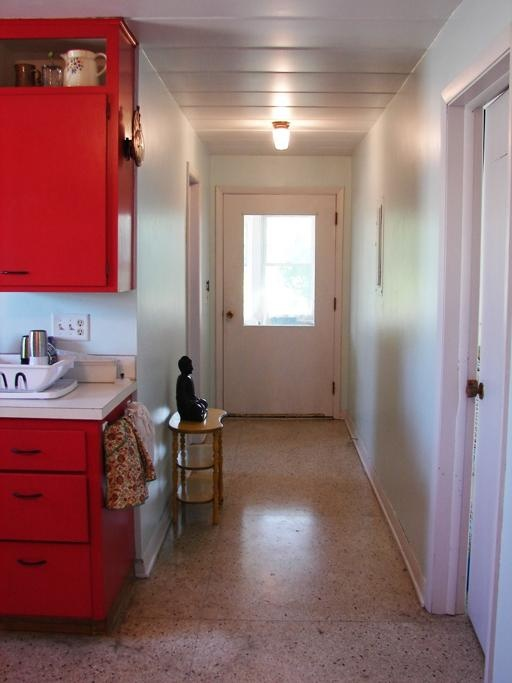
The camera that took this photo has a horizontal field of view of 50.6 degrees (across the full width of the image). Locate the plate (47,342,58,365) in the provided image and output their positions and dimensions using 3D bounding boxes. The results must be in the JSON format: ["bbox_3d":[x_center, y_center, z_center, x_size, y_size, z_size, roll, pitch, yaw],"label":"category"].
[{"bbox_3d":[-0.771,0.037,2.075,0.034,0.075,0.138,-1,5,-20],"label":"plate"}]

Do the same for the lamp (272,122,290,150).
[{"bbox_3d":[0.154,-1.303,3.432,0.114,0.211,0.143,-1,16,-3],"label":"lamp"}]

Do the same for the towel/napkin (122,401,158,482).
[{"bbox_3d":[-0.408,0.353,1.991,0.059,0.286,0.181,-5,-8,5],"label":"towel/napkin"}]

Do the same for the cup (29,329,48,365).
[{"bbox_3d":[-0.786,0.020,1.978,0.064,0.120,0.108,-2,5,-25],"label":"cup"}]

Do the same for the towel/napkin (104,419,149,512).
[{"bbox_3d":[-0.425,0.402,1.777,0.071,0.354,0.266,-3,-6,11],"label":"towel/napkin"}]
